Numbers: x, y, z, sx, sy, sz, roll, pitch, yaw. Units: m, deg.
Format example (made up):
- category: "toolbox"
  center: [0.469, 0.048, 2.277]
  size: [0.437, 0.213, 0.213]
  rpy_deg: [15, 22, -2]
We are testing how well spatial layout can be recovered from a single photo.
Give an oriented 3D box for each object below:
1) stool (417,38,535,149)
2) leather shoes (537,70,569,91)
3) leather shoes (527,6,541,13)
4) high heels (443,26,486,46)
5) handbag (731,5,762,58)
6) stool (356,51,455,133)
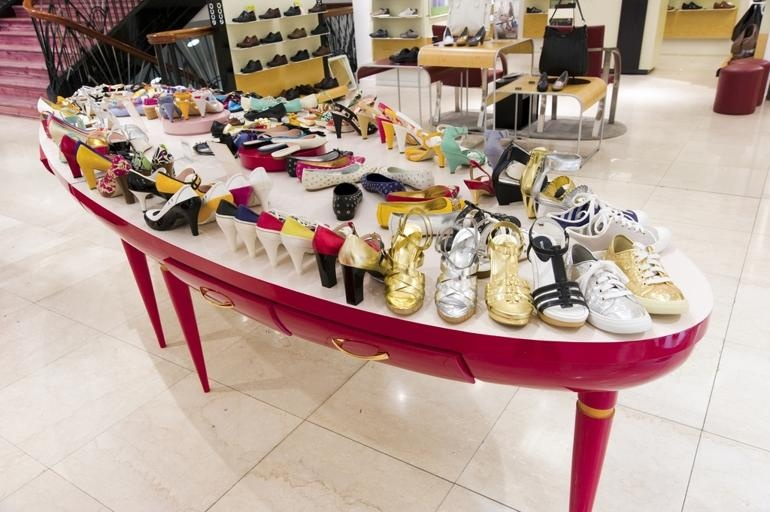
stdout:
- category: "stool"
  center: [1.034, -1.579, 5.509]
  size: [0.913, 1.040, 1.604]
  rpy_deg: [10, 37, 22]
- category: "leather shoes"
  center: [1.587, -1.634, 4.564]
  size: [0.244, 0.118, 0.334]
  rpy_deg: [12, 34, 30]
- category: "leather shoes"
  center: [2.337, -3.880, 7.646]
  size: [0.191, 0.103, 0.069]
  rpy_deg: [6, 6, 18]
- category: "high heels"
  center: [0.829, -2.235, 4.969]
  size: [0.243, 0.118, 0.330]
  rpy_deg: [17, 54, 26]
- category: "handbag"
  center: [4.979, -3.079, 6.646]
  size: [0.326, 0.703, 0.786]
  rpy_deg: [16, 33, 28]
- category: "stool"
  center: [0.343, -2.009, 6.058]
  size: [1.140, 0.981, 1.276]
  rpy_deg: [8, 41, 16]
